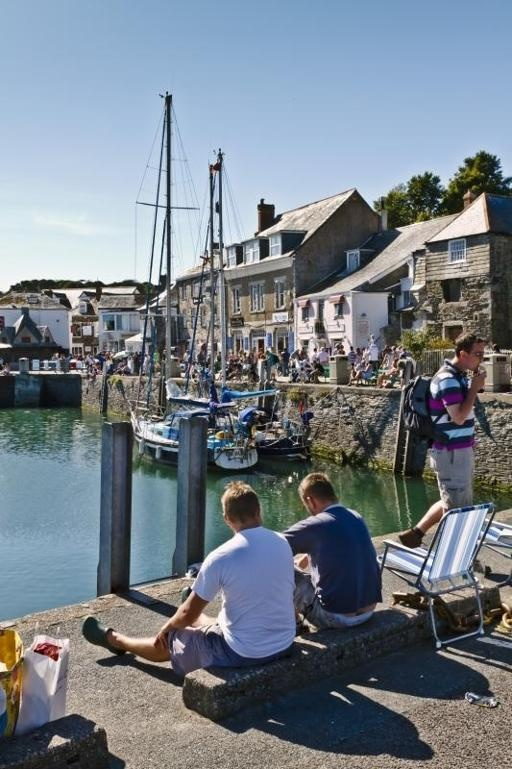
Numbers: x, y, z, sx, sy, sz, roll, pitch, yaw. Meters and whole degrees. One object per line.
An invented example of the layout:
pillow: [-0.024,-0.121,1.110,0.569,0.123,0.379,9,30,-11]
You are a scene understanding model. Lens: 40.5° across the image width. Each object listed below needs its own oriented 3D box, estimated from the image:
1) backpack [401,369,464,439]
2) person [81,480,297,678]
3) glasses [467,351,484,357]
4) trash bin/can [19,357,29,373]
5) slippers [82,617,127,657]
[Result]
backpack: [1.374,0.221,5.411,0.362,0.733,0.544,4,-6,11]
person: [-0.283,1.070,3.718,1.022,1.074,0.469,-2,-1,43]
glasses: [1.698,-0.223,5.323,0.044,0.048,0.174,-2,-1,37]
trash bin/can: [-18.287,-1.434,54.299,0.626,1.071,0.926,-1,-1,-11]
slippers: [-0.935,1.486,4.097,0.286,0.160,0.134,27,-17,-24]
